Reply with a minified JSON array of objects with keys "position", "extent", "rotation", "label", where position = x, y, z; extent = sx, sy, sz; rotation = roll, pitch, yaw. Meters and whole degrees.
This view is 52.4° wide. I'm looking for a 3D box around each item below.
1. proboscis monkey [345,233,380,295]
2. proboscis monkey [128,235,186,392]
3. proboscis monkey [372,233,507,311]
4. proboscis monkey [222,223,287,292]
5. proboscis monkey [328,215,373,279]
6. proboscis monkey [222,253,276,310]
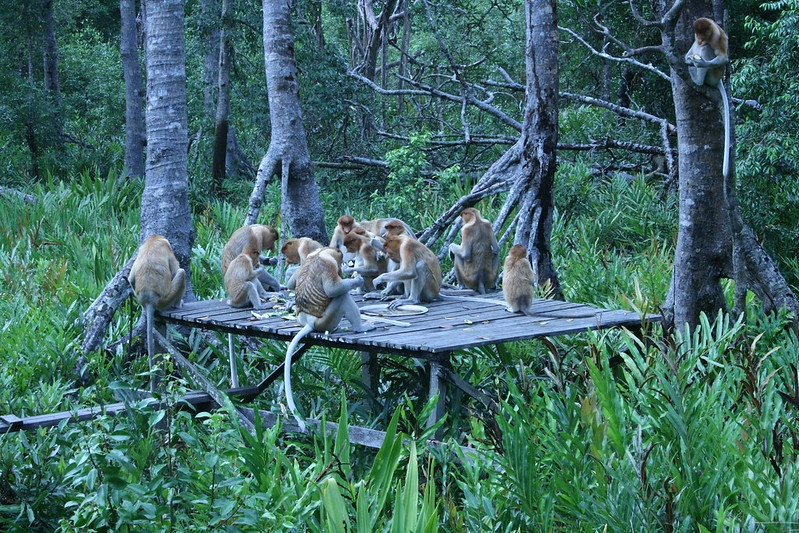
[{"position":[-0.331,-0.097,7.795],"extent":[0.393,0.707,0.418],"rotation":[-1,26,2],"label":"proboscis monkey"},{"position":[-2.244,0.382,7.602],"extent":[0.424,1.572,0.518],"rotation":[-1,-9,3],"label":"proboscis monkey"},{"position":[0.214,0.028,7.602],"extent":[0.806,0.739,0.521],"rotation":[-2,4,-9],"label":"proboscis monkey"},{"position":[-1.447,-0.074,8.064],"extent":[0.538,0.709,0.469],"rotation":[-3,3,-24],"label":"proboscis monkey"},{"position":[-0.519,-0.257,8.240],"extent":[0.316,0.410,0.641],"rotation":[-6,-8,-6],"label":"proboscis monkey"},{"position":[-1.390,0.085,7.596],"extent":[0.428,0.618,0.451],"rotation":[14,22,37],"label":"proboscis monkey"}]
